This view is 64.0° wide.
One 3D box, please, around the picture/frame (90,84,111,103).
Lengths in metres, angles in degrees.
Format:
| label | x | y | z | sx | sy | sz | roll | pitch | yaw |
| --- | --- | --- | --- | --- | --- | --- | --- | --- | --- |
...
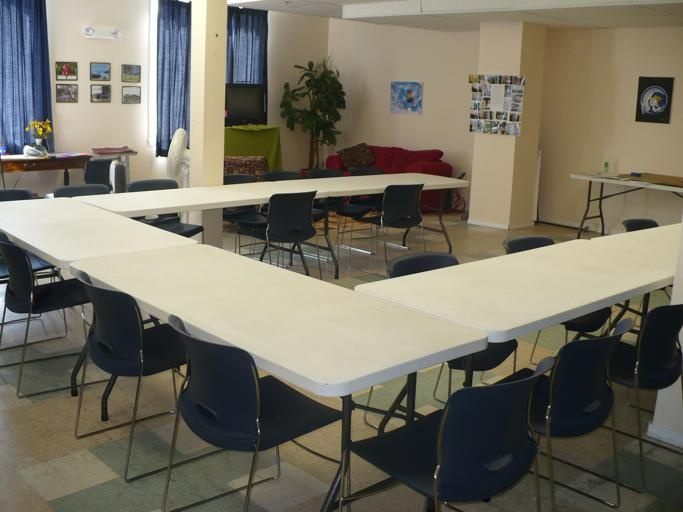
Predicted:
| label | x | y | z | sx | sy | sz | roll | pitch | yaw |
| --- | --- | --- | --- | --- | --- | --- | --- | --- | --- |
| picture/frame | -4.244 | -2.861 | 9.603 | 0.021 | 0.277 | 0.329 | 15 | 19 | 38 |

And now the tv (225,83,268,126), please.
| label | x | y | z | sx | sy | sz | roll | pitch | yaw |
| --- | --- | --- | --- | --- | --- | --- | --- | --- | --- |
| tv | -1.863 | -2.950 | 10.665 | 0.132 | 0.751 | 0.928 | 13 | 20 | 42 |

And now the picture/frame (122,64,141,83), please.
| label | x | y | z | sx | sy | sz | roll | pitch | yaw |
| --- | --- | --- | --- | --- | --- | --- | --- | --- | --- |
| picture/frame | -3.828 | -3.327 | 9.934 | 0.035 | 0.282 | 0.359 | 7 | 10 | 36 |

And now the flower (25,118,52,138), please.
| label | x | y | z | sx | sy | sz | roll | pitch | yaw |
| --- | --- | --- | --- | --- | --- | --- | --- | --- | --- |
| flower | -4.889 | -2.068 | 8.878 | 0.324 | 0.353 | 0.294 | 11 | 14 | 42 |

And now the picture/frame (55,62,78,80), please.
| label | x | y | z | sx | sy | sz | roll | pitch | yaw |
| --- | --- | --- | --- | --- | --- | --- | --- | --- | --- |
| picture/frame | -4.636 | -3.118 | 9.194 | 0.031 | 0.277 | 0.318 | 18 | 20 | 41 |

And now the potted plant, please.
| label | x | y | z | sx | sy | sz | roll | pitch | yaw |
| --- | --- | --- | --- | --- | --- | --- | --- | --- | --- |
| potted plant | -0.469 | -2.827 | 11.168 | 0.613 | 2.404 | 1.425 | -7 | 17 | -36 |

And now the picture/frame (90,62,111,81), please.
| label | x | y | z | sx | sy | sz | roll | pitch | yaw |
| --- | --- | --- | --- | --- | --- | --- | --- | --- | --- |
| picture/frame | -4.216 | -3.232 | 9.538 | 0.023 | 0.294 | 0.349 | 7 | 8 | 42 |

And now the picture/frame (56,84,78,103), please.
| label | x | y | z | sx | sy | sz | roll | pitch | yaw |
| --- | --- | --- | --- | --- | --- | --- | --- | --- | --- |
| picture/frame | -4.661 | -2.761 | 9.252 | 0.331 | 0.282 | 0.022 | -8 | 16 | -44 |

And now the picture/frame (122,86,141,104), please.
| label | x | y | z | sx | sy | sz | roll | pitch | yaw |
| --- | --- | --- | --- | --- | --- | --- | --- | --- | --- |
| picture/frame | -3.840 | -2.940 | 10.014 | 0.034 | 0.332 | 0.398 | 12 | 19 | 39 |
